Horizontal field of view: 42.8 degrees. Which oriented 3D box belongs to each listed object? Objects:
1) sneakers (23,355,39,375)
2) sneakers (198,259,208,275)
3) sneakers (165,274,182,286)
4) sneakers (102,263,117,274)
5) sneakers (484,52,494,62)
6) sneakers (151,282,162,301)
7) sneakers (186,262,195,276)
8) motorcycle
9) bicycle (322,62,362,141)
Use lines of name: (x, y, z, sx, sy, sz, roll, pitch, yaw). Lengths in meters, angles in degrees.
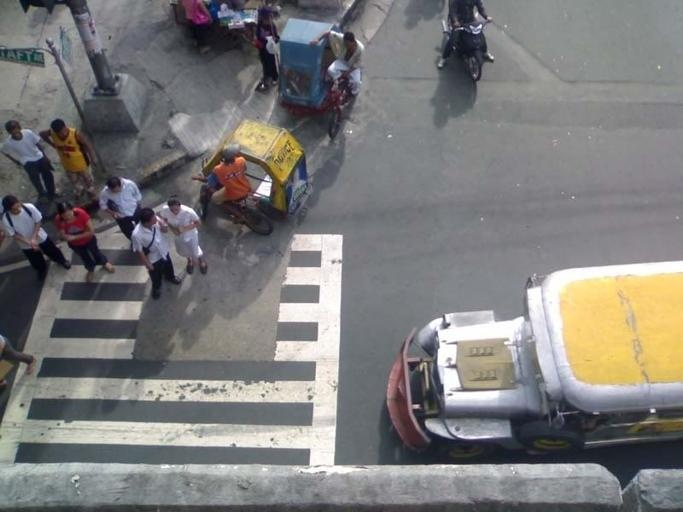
sneakers: (-6.240, 2.146, 17.531, 0.234, 0.346, 0.130, -7, 51, -25)
sneakers: (-2.952, 0.219, 18.529, 0.124, 0.125, 0.375, -13, 92, 12)
sneakers: (-3.537, 0.505, 18.398, 0.316, 0.145, 0.163, -3, 78, -14)
sneakers: (-4.932, 0.254, 18.515, 0.278, 0.280, 0.142, 36, 85, 18)
sneakers: (3.585, -4.798, 21.184, 0.278, 0.115, 0.105, 44, 104, 25)
sneakers: (-3.891, 0.753, 18.252, 0.145, 0.127, 0.355, -2, 96, -2)
sneakers: (-3.231, 0.267, 18.571, 0.115, 0.098, 0.279, -5, 77, -11)
motorcycle: (3.045, -4.950, 20.812, 0.736, 1.059, 1.940, -12, 73, 6)
bicycle: (-0.073, -3.598, 20.154, 0.563, 0.847, 1.573, 14, 85, -4)
